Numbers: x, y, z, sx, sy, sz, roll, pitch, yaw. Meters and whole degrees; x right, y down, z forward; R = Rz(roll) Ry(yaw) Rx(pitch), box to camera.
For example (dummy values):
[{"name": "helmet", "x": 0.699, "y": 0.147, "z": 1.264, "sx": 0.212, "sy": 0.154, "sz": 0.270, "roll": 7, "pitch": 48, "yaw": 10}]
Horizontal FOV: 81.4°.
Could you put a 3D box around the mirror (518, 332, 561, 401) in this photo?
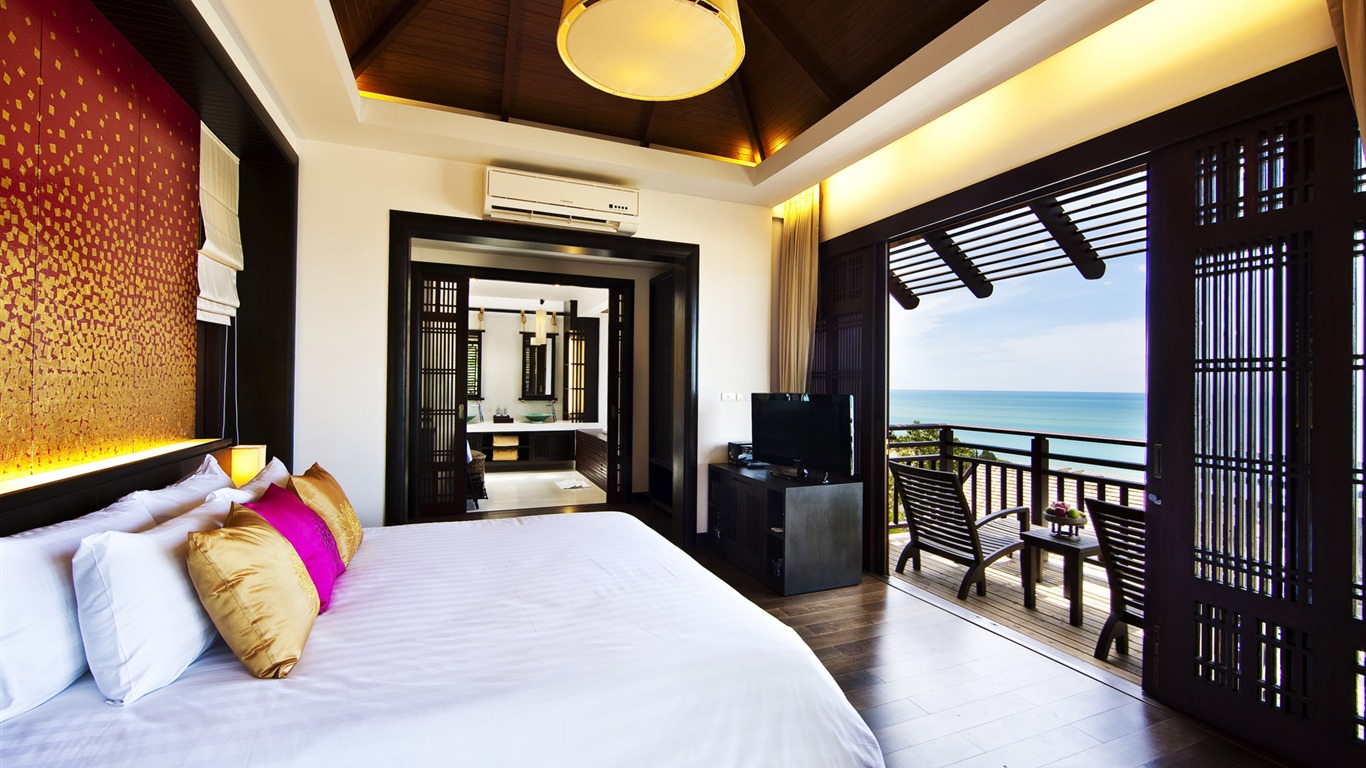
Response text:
[{"name": "mirror", "x": -2.246, "y": -0.268, "z": 12.488, "sx": 0.614, "sy": 1.052, "sz": 0.295, "roll": -2, "pitch": 14, "yaw": -11}]

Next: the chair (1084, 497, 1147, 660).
[{"name": "chair", "x": 2.952, "y": 1.362, "z": 5.465, "sx": 0.444, "sy": 1.109, "sz": 0.417, "roll": 7, "pitch": 15, "yaw": 21}]

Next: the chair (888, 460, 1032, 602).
[{"name": "chair", "x": 2.213, "y": 1.149, "z": 6.510, "sx": 1.354, "sy": 1.051, "sz": 0.838, "roll": 0, "pitch": 1, "yaw": -36}]

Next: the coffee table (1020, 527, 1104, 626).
[{"name": "coffee table", "x": 2.837, "y": 1.476, "z": 6.268, "sx": 0.675, "sy": 0.760, "sz": 0.756, "roll": 1, "pitch": -4, "yaw": -2}]

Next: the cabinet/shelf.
[{"name": "cabinet/shelf", "x": 0.882, "y": 0.949, "z": 6.867, "sx": 0.924, "sy": 0.882, "sz": 1.623, "roll": 2, "pitch": -3, "yaw": -8}]
